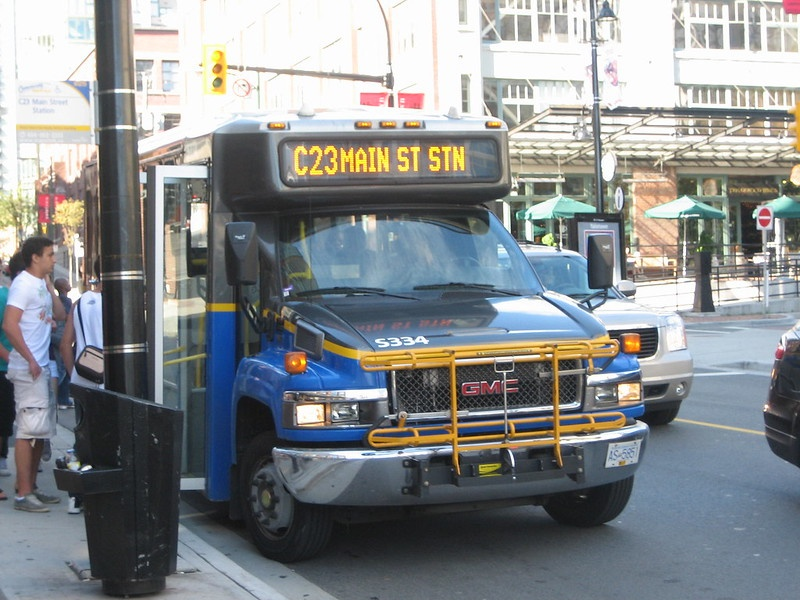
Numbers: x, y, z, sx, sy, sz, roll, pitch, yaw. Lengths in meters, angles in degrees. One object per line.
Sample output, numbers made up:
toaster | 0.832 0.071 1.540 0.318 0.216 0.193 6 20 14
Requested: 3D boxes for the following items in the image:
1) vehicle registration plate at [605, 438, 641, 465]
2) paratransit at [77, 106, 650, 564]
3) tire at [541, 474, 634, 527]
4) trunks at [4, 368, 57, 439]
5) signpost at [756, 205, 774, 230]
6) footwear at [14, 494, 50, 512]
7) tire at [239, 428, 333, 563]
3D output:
vehicle registration plate | 1.700 1.155 7.920 0.232 0.131 0.015 -9 18 -29
paratransit | -0.601 0.184 9.310 3.044 2.396 4.437 0 -3 -27
tire | 1.532 1.627 8.443 0.205 0.610 0.619 1 1 -33
trunks | -3.351 0.963 9.459 0.347 0.662 0.315 -5 6 -23
signpost | 10.359 -2.258 29.356 0.386 0.663 1.504 -1 6 17
footwear | -3.289 1.826 9.295 0.369 0.132 0.131 1 0 23
tire | -0.903 1.521 8.072 0.285 1.007 0.903 -8 8 -42
